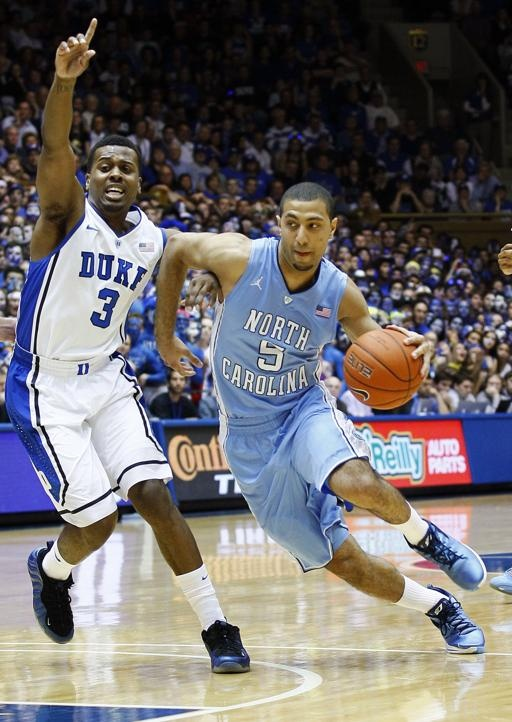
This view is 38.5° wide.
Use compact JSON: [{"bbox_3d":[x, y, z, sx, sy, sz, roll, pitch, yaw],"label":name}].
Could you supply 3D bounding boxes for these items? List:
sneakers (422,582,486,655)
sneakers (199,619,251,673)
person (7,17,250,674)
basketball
[{"bbox_3d":[0.649,0.856,2.470,0.099,0.105,0.268,-23,12,-10],"label":"sneakers"},{"bbox_3d":[-0.086,0.877,2.242,0.116,0.087,0.190,-1,35,-20],"label":"sneakers"},{"bbox_3d":[-0.485,0.037,2.354,0.533,1.878,1.221,-5,38,-26],"label":"person"},{"bbox_3d":[0.426,0.021,2.619,0.278,0.312,0.279,2,3,11],"label":"basketball"}]
